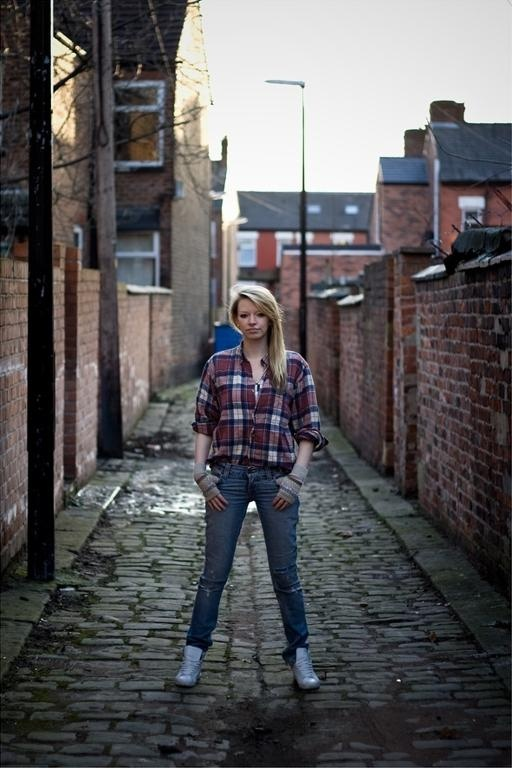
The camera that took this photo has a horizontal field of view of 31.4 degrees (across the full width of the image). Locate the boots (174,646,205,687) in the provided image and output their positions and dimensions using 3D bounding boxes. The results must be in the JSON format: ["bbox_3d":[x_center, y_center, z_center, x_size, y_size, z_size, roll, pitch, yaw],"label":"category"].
[{"bbox_3d":[-0.298,1.264,4.099,0.070,0.114,0.234,3,-4,3],"label":"boots"}]

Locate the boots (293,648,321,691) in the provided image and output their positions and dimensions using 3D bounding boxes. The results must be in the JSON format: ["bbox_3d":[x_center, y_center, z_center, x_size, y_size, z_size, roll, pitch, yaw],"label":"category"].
[{"bbox_3d":[0.221,1.281,4.108,0.072,0.117,0.232,-4,0,-11],"label":"boots"}]

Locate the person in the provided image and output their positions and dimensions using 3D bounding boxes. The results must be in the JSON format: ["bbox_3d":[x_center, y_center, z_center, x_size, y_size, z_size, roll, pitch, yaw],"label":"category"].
[{"bbox_3d":[-0.021,0.465,4.093,0.672,1.807,0.321,0,2,4],"label":"person"}]
